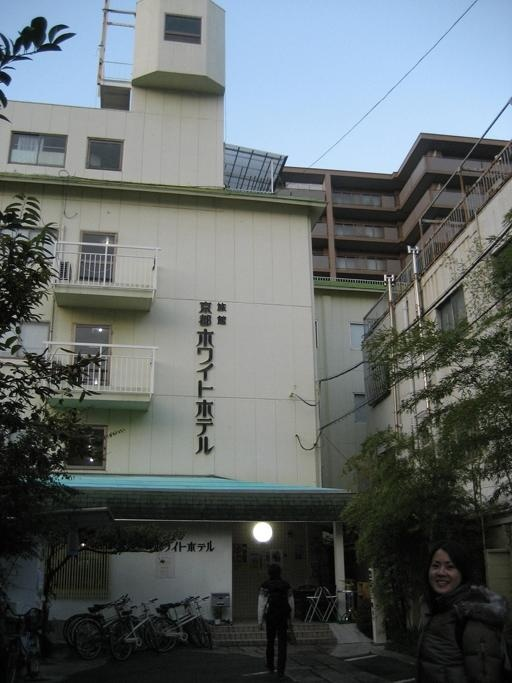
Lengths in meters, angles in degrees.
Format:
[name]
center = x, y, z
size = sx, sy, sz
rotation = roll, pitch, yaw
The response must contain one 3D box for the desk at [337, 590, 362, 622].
[desk]
center = 2.133, 6.194, 15.040
size = 0.736, 0.649, 0.705
rotation = -1, -8, 4
